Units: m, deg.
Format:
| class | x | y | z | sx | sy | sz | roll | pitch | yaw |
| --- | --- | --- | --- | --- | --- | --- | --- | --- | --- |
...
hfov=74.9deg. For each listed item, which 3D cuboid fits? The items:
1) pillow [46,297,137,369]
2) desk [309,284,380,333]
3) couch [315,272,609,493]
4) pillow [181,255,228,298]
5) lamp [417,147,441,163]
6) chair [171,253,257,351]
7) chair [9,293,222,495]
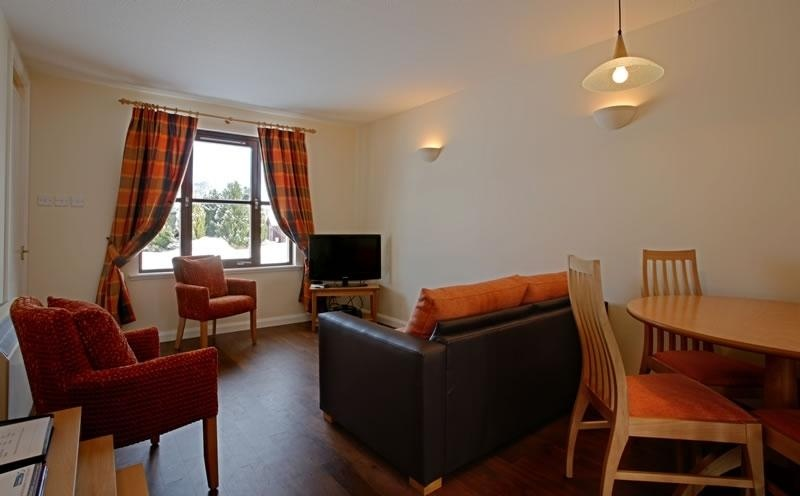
| class | x | y | z | sx | sy | sz | roll | pitch | yaw |
| --- | --- | --- | --- | --- | --- | --- | --- | --- | --- |
| pillow | -2.117 | 0.642 | 3.768 | 0.361 | 0.444 | 0.114 | -3 | 4 | -19 |
| desk | -0.796 | 0.596 | 6.921 | 0.934 | 0.609 | 0.546 | 0 | 2 | -19 |
| couch | 0.266 | 1.011 | 4.586 | 2.217 | 1.440 | 1.475 | 0 | 0 | -35 |
| pillow | -2.280 | 0.321 | 6.159 | 0.177 | 0.492 | 0.469 | -23 | -20 | 39 |
| lamp | 0.376 | -1.149 | 6.354 | 0.181 | 0.138 | 0.185 | -1 | -1 | -19 |
| chair | -2.199 | 0.626 | 6.135 | 0.841 | 1.103 | 0.863 | -2 | 2 | 9 |
| chair | -2.309 | 1.159 | 4.383 | 1.468 | 1.897 | 1.440 | -1 | 1 | -39 |
